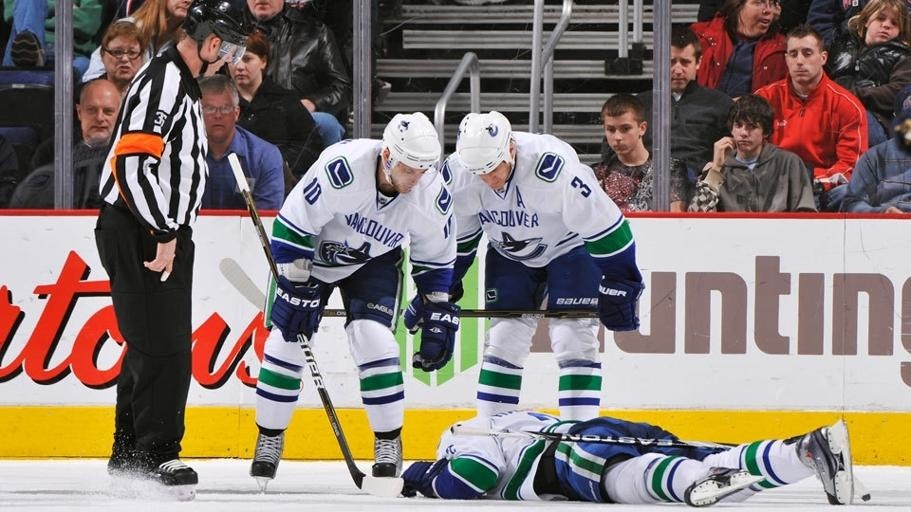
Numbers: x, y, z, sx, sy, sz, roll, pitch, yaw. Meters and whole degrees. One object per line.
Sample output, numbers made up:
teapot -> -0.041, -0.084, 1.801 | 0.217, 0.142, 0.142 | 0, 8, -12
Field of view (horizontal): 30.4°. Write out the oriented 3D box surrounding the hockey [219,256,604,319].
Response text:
hockey -> -0.260, 0.200, 11.250 | 2.899, 0.336, 0.265 | 3, -9, -2

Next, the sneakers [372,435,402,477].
sneakers -> -0.429, 1.298, 10.925 | 0.183, 0.206, 0.269 | 3, 1, -3

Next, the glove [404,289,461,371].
glove -> -0.147, 0.490, 11.196 | 0.285, 0.602, 0.245 | 1, 0, -36

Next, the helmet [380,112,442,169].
helmet -> -0.259, -0.743, 10.884 | 0.282, 0.392, 0.559 | 1, 2, 1

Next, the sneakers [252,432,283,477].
sneakers -> -1.209, 1.266, 10.986 | 0.130, 0.146, 0.373 | 10, 39, -10

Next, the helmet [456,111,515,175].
helmet -> 0.207, -0.764, 11.010 | 0.415, 0.383, 0.398 | 2, -14, 13

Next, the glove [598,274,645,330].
glove -> 1.118, 0.308, 11.252 | 0.231, 0.395, 0.239 | -2, -1, 11

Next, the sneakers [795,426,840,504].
sneakers -> 2.265, 1.300, 10.352 | 0.268, 0.511, 0.191 | -13, 18, 14
